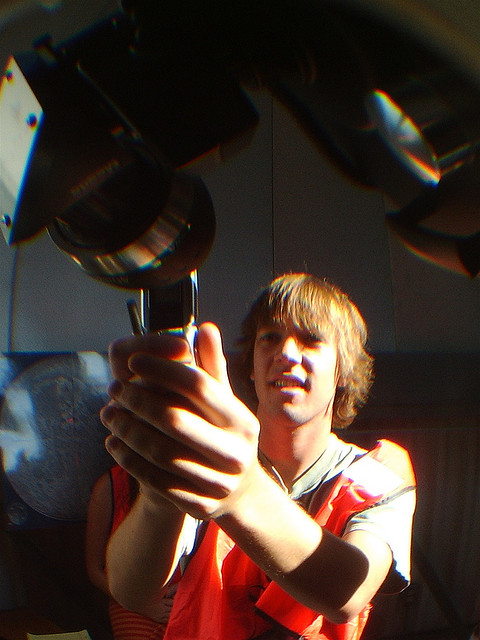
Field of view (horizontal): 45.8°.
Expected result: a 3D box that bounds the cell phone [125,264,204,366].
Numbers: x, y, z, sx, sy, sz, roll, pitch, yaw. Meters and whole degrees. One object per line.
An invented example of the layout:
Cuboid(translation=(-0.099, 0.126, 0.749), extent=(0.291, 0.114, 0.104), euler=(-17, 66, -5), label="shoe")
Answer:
Cuboid(translation=(-0.047, -0.003, 0.347), extent=(0.040, 0.069, 0.038), euler=(-16, -11, -4), label="cell phone")
